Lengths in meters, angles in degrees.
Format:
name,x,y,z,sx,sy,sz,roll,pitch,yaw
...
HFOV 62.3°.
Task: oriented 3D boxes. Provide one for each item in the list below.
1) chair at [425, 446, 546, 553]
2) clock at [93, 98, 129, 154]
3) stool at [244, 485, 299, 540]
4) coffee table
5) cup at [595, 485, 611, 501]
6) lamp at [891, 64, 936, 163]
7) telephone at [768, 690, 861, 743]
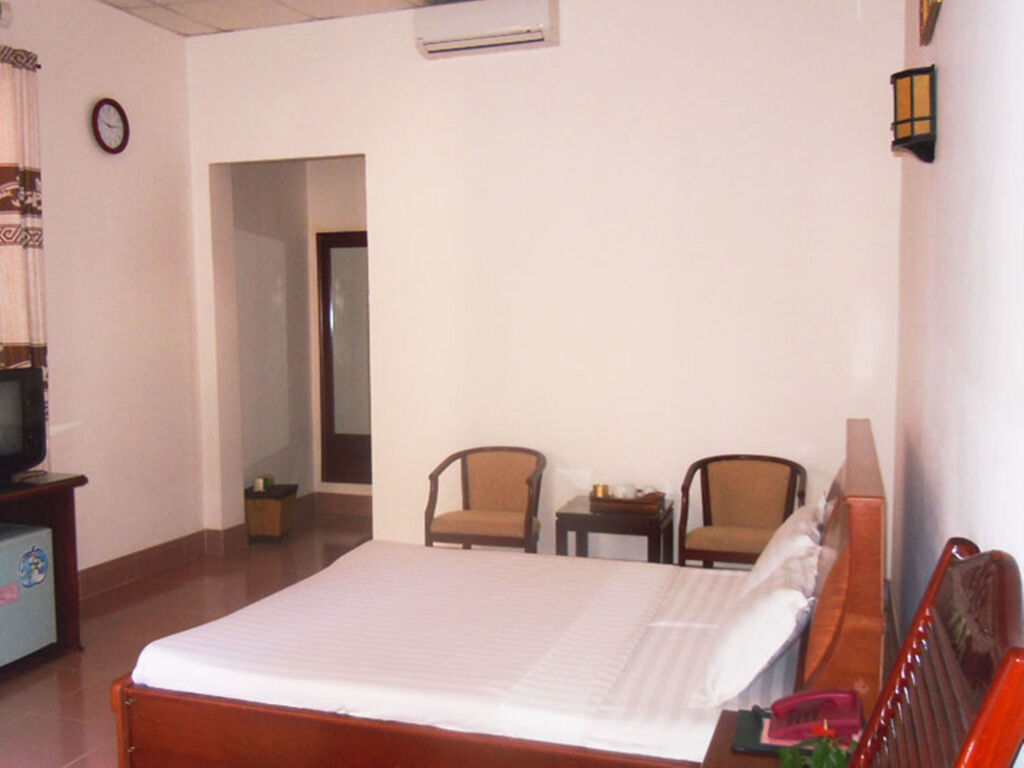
name,x,y,z,sx,sy,sz,roll,pitch,yaw
chair,-0.133,0.864,5.397,0.722,0.943,0.613,0,-4,23
clock,-2.599,-1.678,5.523,0.328,0.342,0.037,20,25,23
stool,-1.913,1.010,6.741,0.318,0.413,0.426,3,9,10
coffee table,0.640,0.828,5.309,0.500,0.555,0.516,0,-3,10
cup,0.545,0.665,5.173,0.072,0.106,0.089,4,8,14
lamp,1.518,-1.012,3.211,0.161,0.334,0.249,3,11,24
telephone,0.836,0.928,2.357,0.182,0.070,0.144,-2,4,15
